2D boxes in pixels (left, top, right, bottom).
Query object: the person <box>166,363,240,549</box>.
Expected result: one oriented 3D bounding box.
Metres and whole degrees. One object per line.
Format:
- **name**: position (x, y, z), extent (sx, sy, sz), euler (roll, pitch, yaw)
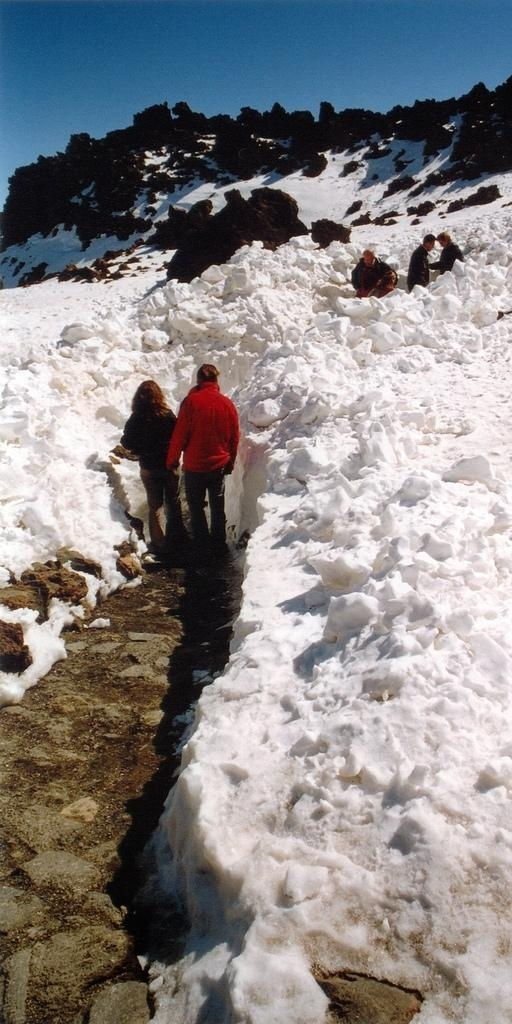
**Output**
- **person**: position (-0.375, -0.328, 5.720), extent (0.505, 1.424, 0.489), euler (-5, 15, -6)
